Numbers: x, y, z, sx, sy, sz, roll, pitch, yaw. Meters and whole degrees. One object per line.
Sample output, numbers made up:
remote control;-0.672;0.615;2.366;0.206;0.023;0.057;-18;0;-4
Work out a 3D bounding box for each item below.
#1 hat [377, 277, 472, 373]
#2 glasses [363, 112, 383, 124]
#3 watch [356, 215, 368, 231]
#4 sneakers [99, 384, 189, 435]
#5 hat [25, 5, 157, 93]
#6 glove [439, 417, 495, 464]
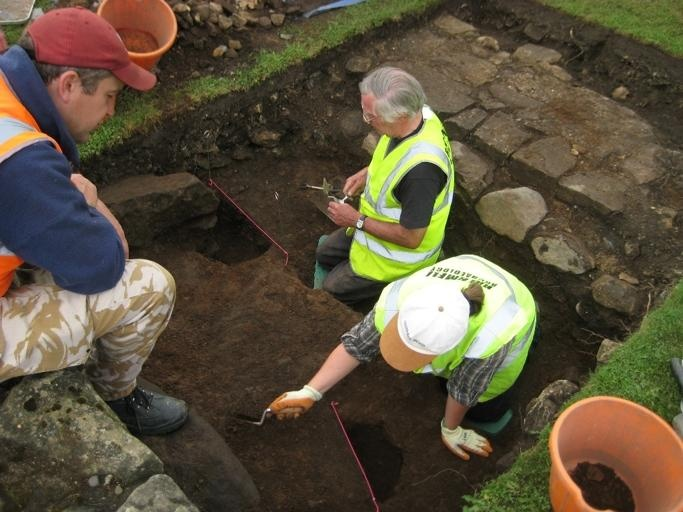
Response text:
hat;0.486;0.410;4.206;0.378;0.217;0.546;31;53;9
glasses;0.213;-0.953;5.044;0.101;0.031;0.097;3;13;-22
watch;0.142;-0.241;5.430;0.063;0.105;0.105;16;18;11
sneakers;-1.159;0.931;4.346;0.512;0.236;0.214;10;51;-11
hat;-1.363;-1.116;3.944;0.563;0.271;0.351;15;32;-22
glove;0.840;1.245;4.896;0.309;0.095;0.242;22;55;7
